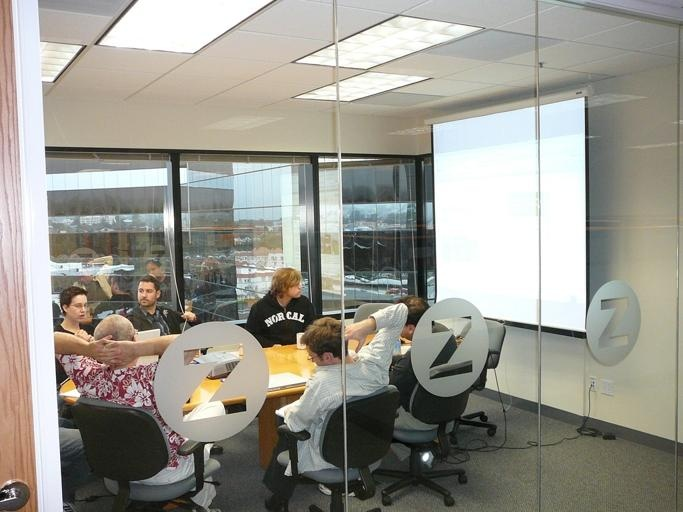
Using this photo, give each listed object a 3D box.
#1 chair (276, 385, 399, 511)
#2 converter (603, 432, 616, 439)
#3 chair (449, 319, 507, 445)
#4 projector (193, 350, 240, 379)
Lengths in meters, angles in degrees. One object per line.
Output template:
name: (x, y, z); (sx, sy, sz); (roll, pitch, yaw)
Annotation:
chair: (-0.097, 0.793, 2.472); (0.482, 0.590, 0.483); (5, -5, -44)
converter: (1.353, 0.918, 2.863); (0.042, 0.020, 0.060); (1, 2, 34)
chair: (0.611, 0.558, 2.727); (0.379, 0.584, 0.378); (5, -1, 19)
projector: (-0.442, 0.392, 2.059); (0.128, 0.042, 0.101); (-6, 12, -35)
